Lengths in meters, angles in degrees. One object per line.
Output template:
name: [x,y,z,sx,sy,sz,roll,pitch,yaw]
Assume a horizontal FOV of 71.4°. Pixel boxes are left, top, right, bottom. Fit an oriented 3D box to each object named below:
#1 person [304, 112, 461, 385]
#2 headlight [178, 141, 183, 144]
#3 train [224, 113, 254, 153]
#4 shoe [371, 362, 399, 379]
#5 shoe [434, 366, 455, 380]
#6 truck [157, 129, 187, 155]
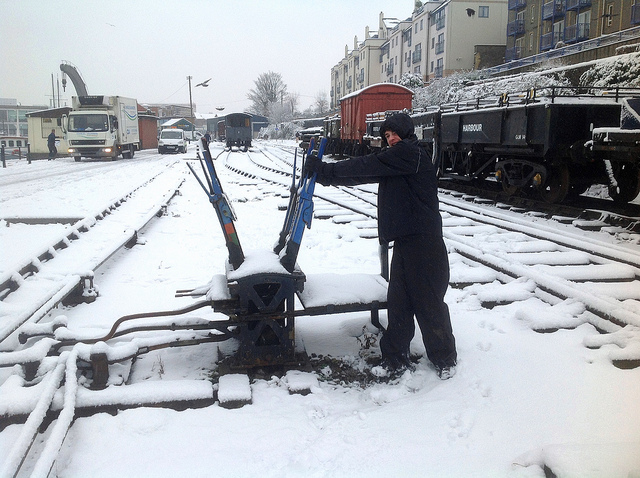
person: [0.665,0.047,3.836,1.114,2.182,0.653,4,14,21]
headlight: [-12.264,-8.489,39.003,0.371,0.166,0.302,-4,10,-19]
train: [-7.835,-10.115,42.164,2.481,3.428,2.130,1,14,8]
shoe: [0.547,1.143,3.879,0.215,0.055,0.163,-10,18,-26]
shoe: [1.054,1.133,3.765,0.086,0.052,0.129,-2,3,4]
truck: [-12.998,-8.649,39.155,1.478,1.491,2.805,-2,8,-8]
